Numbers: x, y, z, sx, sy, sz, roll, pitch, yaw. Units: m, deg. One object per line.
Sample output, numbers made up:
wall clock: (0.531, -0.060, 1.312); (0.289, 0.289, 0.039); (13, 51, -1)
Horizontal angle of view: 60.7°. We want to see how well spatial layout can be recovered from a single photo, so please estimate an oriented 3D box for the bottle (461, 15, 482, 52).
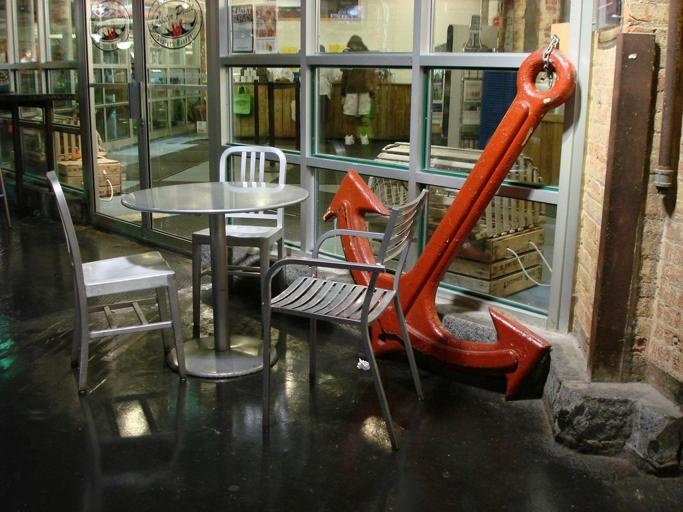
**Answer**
bottle: (0.768, -1.265, 3.336); (0.034, 0.195, 0.122); (-12, 21, -33)
